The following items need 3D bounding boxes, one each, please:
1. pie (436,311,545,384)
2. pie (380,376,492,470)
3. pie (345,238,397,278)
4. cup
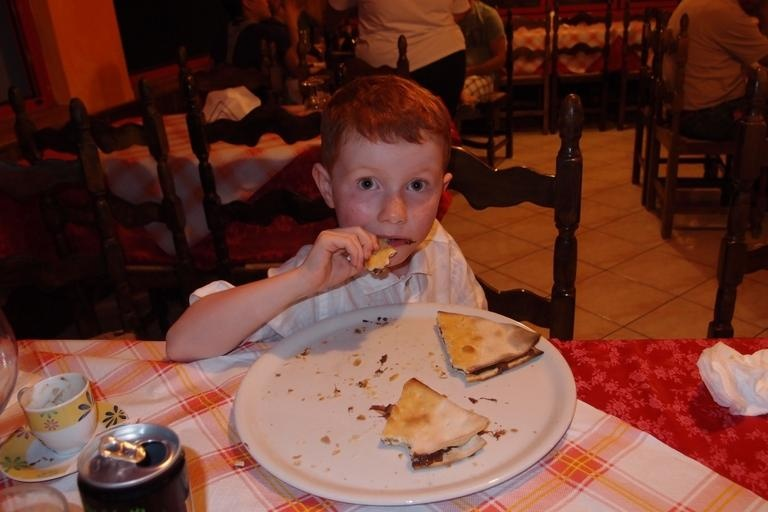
[{"bbox_3d":[0.214,0.201,1.354,0.247,0.045,0.246,17,31,19],"label":"pie"},{"bbox_3d":[0.089,0.347,1.161,0.206,0.059,0.163,21,37,40],"label":"pie"},{"bbox_3d":[-0.027,-0.023,1.570,0.112,0.031,0.106,20,60,39],"label":"pie"},{"bbox_3d":[-0.675,0.331,1.192,0.128,0.123,0.159,-9,16,-24],"label":"cup"}]
